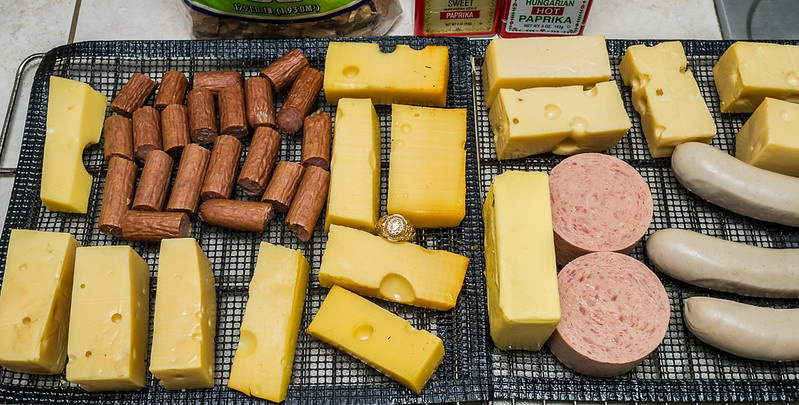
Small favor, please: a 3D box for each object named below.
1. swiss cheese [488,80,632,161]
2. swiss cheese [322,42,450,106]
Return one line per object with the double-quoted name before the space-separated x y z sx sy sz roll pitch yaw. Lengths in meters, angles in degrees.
"swiss cheese" 0.935 -0.457 3.861 0.721 0.224 0.314 -4 61 5
"swiss cheese" -0.099 -0.761 4.039 0.724 0.177 0.333 4 80 1
